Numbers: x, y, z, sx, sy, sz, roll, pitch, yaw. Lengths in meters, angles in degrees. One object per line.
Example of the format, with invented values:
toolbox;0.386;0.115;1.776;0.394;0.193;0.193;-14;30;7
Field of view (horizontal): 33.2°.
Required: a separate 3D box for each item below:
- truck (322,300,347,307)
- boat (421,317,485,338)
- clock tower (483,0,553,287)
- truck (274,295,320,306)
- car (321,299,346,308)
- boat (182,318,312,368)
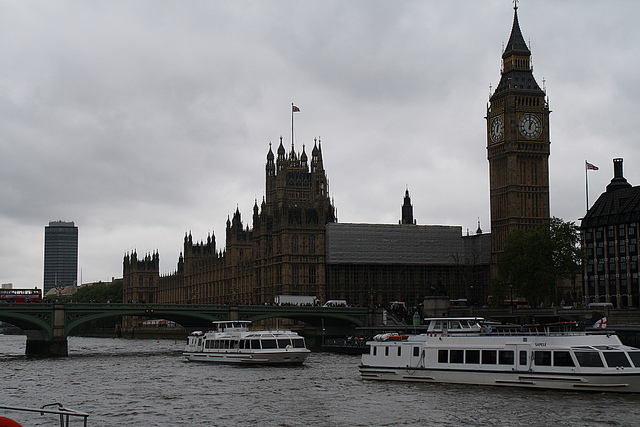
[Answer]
truck;2.195;12.830;153.751;1.962;0.993;1.292;3;-4;-2
boat;11.957;10.130;95.669;4.741;2.152;3.999;-2;-12;11
clock tower;31.196;-11.483;169.141;9.830;41.994;6.656;-3;-13;16
truck;-3.249;13.089;156.810;8.174;2.049;2.105;0;-2;-21
car;2.313;12.809;153.285;2.001;1.016;1.416;3;-6;1
boat;-8.301;14.388;117.736;13.513;4.118;5.556;-2;-7;42
